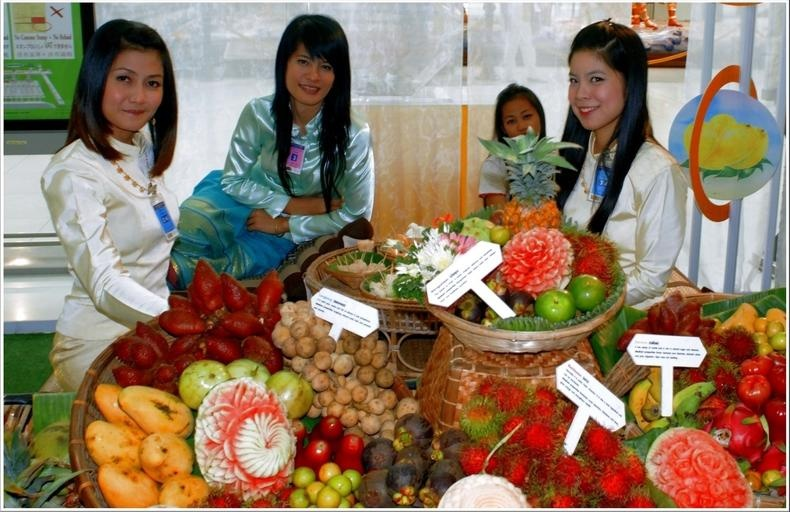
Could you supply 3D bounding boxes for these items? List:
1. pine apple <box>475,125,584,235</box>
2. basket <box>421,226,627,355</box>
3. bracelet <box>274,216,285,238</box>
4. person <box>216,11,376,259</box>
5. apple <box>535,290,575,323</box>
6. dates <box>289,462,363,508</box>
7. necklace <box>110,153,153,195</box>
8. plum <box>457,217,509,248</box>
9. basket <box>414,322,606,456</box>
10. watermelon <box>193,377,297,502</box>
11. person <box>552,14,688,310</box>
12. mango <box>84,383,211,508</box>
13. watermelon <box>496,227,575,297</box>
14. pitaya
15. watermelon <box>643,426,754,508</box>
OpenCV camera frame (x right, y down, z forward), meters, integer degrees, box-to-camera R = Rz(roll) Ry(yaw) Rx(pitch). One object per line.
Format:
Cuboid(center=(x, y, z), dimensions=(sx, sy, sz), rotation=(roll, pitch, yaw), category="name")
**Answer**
Cuboid(center=(0.506, -0.283, 2.243), dimensions=(0.322, 0.390, 0.238), rotation=(-5, 12, -25), category="pine apple")
Cuboid(center=(0.463, 0.080, 2.207), dimensions=(0.621, 0.388, 0.679), rotation=(-13, 14, -30), category="basket")
Cuboid(center=(-0.808, -0.205, 4.142), dimensions=(0.056, 0.088, 0.118), rotation=(-6, 42, -2), category="bracelet")
Cuboid(center=(-0.647, -0.825, 3.965), dimensions=(0.991, 1.512, 0.397), rotation=(-1, 11, -5), category="person")
Cuboid(center=(0.552, 0.173, 2.017), dimensions=(0.113, 0.112, 0.116), rotation=(3, -19, 6), category="apple")
Cuboid(center=(-0.233, 0.769, 1.939), dimensions=(0.241, 0.123, 0.132), rotation=(-1, 11, -7), category="dates")
Cuboid(center=(-1.270, -0.395, 2.820), dimensions=(0.143, 0.038, 0.137), rotation=(48, 11, 6), category="necklace")
Cuboid(center=(0.350, -0.113, 2.233), dimensions=(0.141, 0.059, 0.110), rotation=(19, 18, 15), category="plum")
Cuboid(center=(0.350, 0.410, 2.305), dimensions=(0.746, 0.376, 0.678), rotation=(-2, 8, -3), category="basket")
Cuboid(center=(-0.491, 0.601, 1.918), dimensions=(0.323, 0.358, 0.201), rotation=(25, -30, -38), category="watermelon")
Cuboid(center=(1.155, -0.465, 3.154), dimensions=(0.717, 1.433, 0.895), rotation=(-14, 20, -16), category="person")
Cuboid(center=(-0.826, 0.628, 1.923), dimensions=(0.338, 0.311, 0.456), rotation=(-6, 12, -29), category="mango")
Cuboid(center=(0.510, 0.015, 2.126), dimensions=(0.257, 0.167, 0.265), rotation=(14, 56, 26), category="watermelon")
Cuboid(center=(1.198, 0.619, 1.981), dimensions=(0.291, 0.201, 0.141), rotation=(52, 35, 16), category="pitaya")
Cuboid(center=(0.950, 0.666, 1.828), dimensions=(0.304, 0.195, 0.144), rotation=(4, 11, 18), category="watermelon")
